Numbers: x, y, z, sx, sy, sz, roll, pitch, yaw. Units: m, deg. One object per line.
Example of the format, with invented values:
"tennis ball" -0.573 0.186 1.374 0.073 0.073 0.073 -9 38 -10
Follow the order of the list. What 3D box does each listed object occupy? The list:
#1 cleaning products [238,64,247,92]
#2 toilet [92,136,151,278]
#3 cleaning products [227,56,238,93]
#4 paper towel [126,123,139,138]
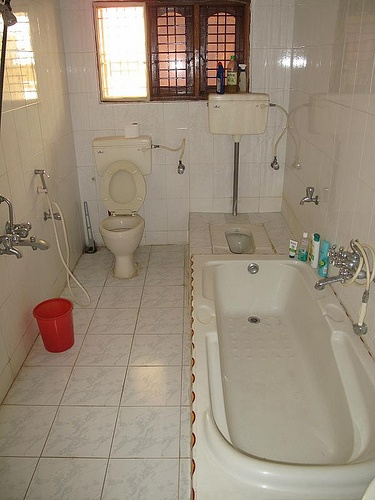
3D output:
"cleaning products" 0.510 -1.582 3.067 0.075 0.221 0.156 1 24 8
"toilet" -0.604 -0.400 3.151 0.504 1.222 0.650 2 24 9
"cleaning products" 0.392 -1.546 2.930 0.084 0.289 0.106 1 23 6
"paper towel" -0.505 -1.099 3.064 0.112 0.126 0.126 -2 39 -2
